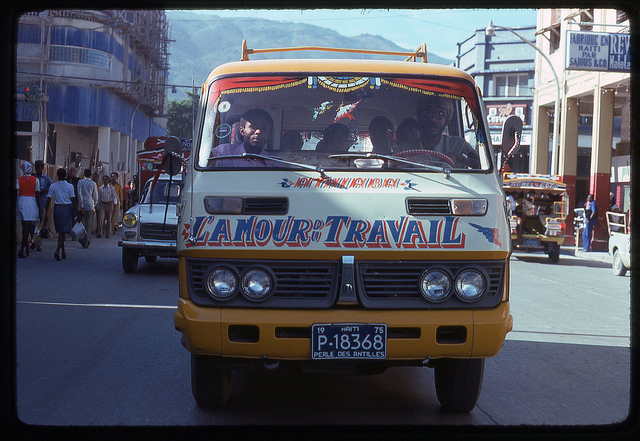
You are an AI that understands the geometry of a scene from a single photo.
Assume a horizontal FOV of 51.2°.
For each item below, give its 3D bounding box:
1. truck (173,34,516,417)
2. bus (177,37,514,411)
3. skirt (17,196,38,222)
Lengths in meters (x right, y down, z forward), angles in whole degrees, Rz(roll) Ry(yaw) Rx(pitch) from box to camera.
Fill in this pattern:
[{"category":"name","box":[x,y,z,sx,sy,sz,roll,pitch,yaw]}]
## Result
[{"category":"truck","box":[0.179,-0.118,7.834,2.106,2.747,4.392,0,0,-1]},{"category":"bus","box":[0.178,-0.075,7.825,2.064,2.641,4.333,1,-1,-1]},{"category":"skirt","box":[-6.641,-0.274,15.067,0.323,0.652,0.505,-8,-5,30]}]
